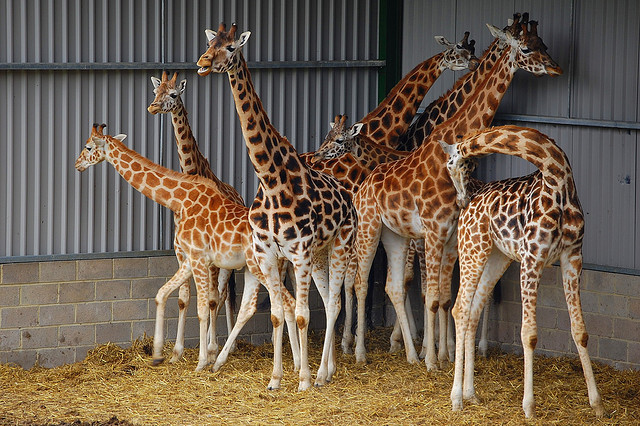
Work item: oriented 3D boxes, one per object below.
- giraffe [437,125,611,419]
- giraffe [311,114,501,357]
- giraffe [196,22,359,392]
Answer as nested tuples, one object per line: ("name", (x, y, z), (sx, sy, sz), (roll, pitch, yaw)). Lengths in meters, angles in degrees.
("giraffe", (1.991, 0.526, 10.623), (1.553, 2.779, 1.052), (4, 14, 15))
("giraffe", (1.283, 0.481, 12.010), (0.828, 2.677, 3.506), (6, -4, -34))
("giraffe", (-0.353, -0.051, 10.809), (1.522, 3.809, 0.621), (-2, 13, -7))
